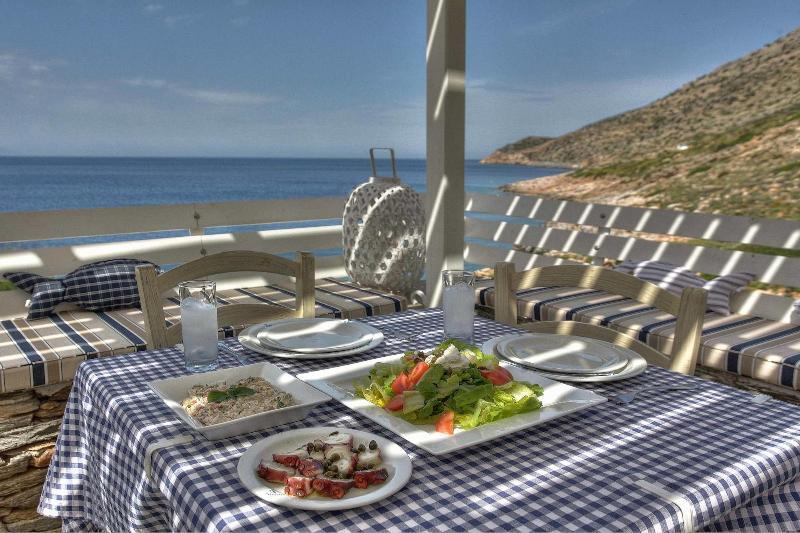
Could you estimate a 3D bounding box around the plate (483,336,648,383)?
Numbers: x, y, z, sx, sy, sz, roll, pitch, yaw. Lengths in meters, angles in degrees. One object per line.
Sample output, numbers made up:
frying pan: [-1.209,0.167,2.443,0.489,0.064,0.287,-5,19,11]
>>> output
plate: [0.382,0.200,0.963,0.181,0.014,0.151,-4,10,-15]

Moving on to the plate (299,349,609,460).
plate: [0.145,0.193,0.714,0.246,0.020,0.240,-5,9,-32]
